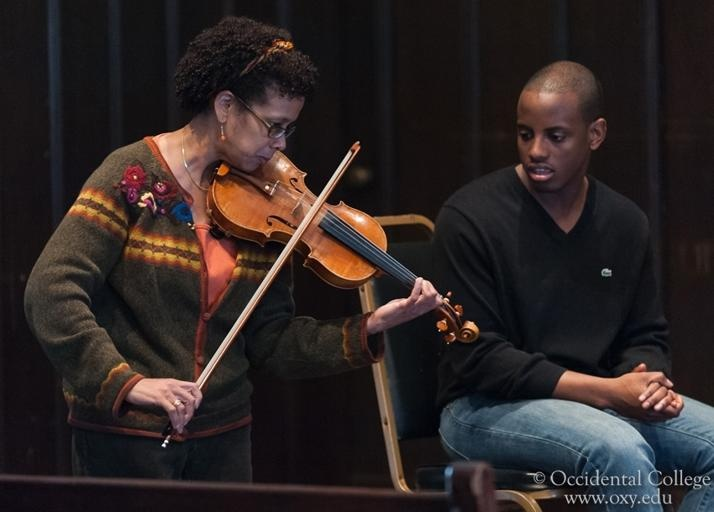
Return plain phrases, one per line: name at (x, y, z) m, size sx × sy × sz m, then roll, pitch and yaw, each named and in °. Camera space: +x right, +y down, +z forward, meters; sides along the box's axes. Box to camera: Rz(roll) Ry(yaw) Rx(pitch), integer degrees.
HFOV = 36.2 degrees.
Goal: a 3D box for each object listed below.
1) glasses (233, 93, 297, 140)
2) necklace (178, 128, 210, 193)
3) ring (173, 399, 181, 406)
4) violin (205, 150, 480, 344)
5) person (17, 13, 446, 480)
glasses at (-0.255, -0.373, 2.966) m, size 0.039 × 0.128 × 0.131 m, roll -42°, pitch -18°, yaw 18°
necklace at (-0.443, -0.259, 2.980) m, size 0.104 × 0.165 × 0.030 m, roll -9°, pitch 7°, yaw -41°
ring at (-0.451, 0.370, 2.729) m, size 0.033 × 0.017 × 0.008 m, roll 7°, pitch -21°, yaw -31°
violin at (-0.138, -0.033, 3.101) m, size 0.969 × 0.335 × 0.149 m, roll 33°, pitch -32°, yaw -12°
person at (-0.403, -0.012, 2.963) m, size 0.943 × 1.257 × 0.325 m, roll 2°, pitch -9°, yaw -17°
